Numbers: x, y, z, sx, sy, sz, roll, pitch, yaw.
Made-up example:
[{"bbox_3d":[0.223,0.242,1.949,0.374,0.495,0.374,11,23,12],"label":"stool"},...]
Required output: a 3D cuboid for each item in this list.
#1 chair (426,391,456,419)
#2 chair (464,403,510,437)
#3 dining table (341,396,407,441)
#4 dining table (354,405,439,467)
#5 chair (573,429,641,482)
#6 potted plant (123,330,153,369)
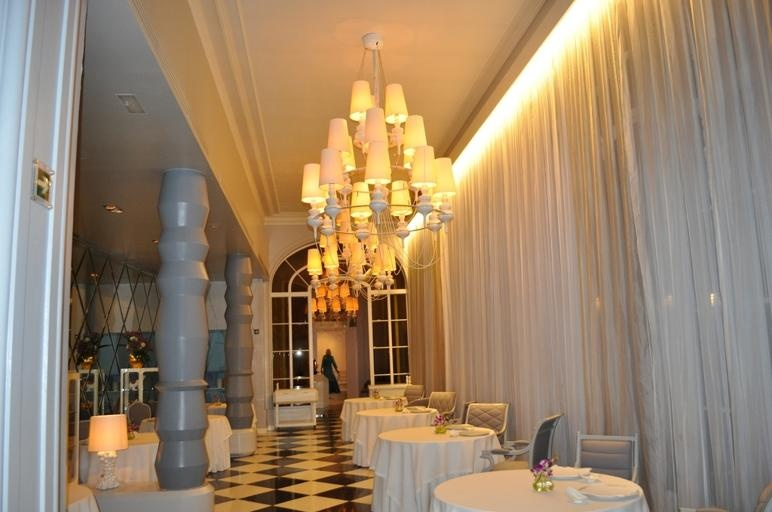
[{"bbox_3d":[0.830,2.414,9.386,0.390,0.517,0.418,-5,-30,17],"label":"chair"},{"bbox_3d":[1.311,2.126,7.594,0.415,0.546,0.438,-3,-36,16],"label":"chair"},{"bbox_3d":[-0.398,3.042,10.625,0.903,0.596,0.902,1,-19,-2],"label":"dining table"},{"bbox_3d":[0.130,2.756,8.598,1.127,0.604,1.130,12,16,-8],"label":"dining table"},{"bbox_3d":[1.986,1.782,5.223,0.425,0.621,0.486,-4,-16,21],"label":"chair"},{"bbox_3d":[-4.199,1.614,9.767,0.535,0.597,0.682,-9,-11,-17],"label":"potted plant"}]
